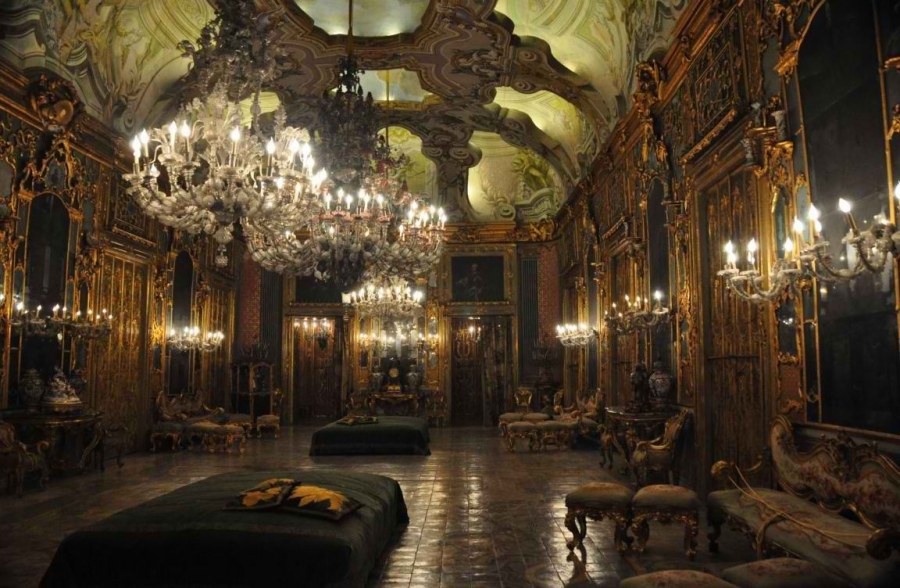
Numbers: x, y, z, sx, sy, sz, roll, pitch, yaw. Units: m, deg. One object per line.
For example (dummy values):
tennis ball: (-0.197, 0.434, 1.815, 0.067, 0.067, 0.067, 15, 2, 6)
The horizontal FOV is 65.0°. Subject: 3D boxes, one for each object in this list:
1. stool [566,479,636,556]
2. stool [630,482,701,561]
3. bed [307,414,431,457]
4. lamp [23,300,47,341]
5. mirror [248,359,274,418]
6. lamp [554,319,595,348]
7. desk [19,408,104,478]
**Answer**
stool: (1.959, 2.907, 9.242, 0.818, 0.775, 0.817, -1, -12, 11)
stool: (2.722, 2.861, 8.983, 0.794, 0.728, 0.785, -1, -4, 7)
bed: (-1.663, 3.075, 15.347, 2.433, 0.789, 1.224, 0, -11, -1)
lamp: (-7.163, 0.436, 12.224, 0.496, 0.506, 0.488, 5, -10, -41)
mirror: (-5.338, 2.701, 19.905, 0.749, 1.590, 0.544, 3, -10, -16)
lamp: (3.120, 0.936, 16.911, 0.684, 0.387, 0.682, -11, 0, -31)
desk: (-6.870, 2.550, 12.542, 1.068, 0.806, 1.385, 0, -4, -6)
